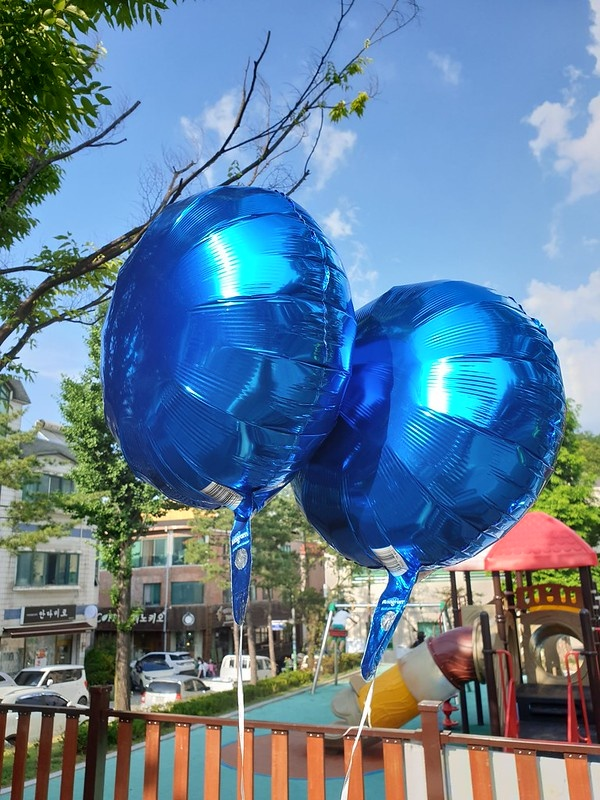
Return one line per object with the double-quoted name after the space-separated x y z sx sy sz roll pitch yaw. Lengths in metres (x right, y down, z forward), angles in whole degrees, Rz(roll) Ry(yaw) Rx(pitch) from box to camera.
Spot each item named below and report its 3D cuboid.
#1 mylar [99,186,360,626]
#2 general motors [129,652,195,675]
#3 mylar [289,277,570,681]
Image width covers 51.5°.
-0.267 -0.188 2.116 0.813 1.133 0.486 -10 -19 27 "mylar"
-5.391 10.573 25.163 2.067 0.742 0.988 -5 -29 16 "general motors"
0.661 0.270 2.479 0.699 1.348 1.107 13 -3 -43 "mylar"
